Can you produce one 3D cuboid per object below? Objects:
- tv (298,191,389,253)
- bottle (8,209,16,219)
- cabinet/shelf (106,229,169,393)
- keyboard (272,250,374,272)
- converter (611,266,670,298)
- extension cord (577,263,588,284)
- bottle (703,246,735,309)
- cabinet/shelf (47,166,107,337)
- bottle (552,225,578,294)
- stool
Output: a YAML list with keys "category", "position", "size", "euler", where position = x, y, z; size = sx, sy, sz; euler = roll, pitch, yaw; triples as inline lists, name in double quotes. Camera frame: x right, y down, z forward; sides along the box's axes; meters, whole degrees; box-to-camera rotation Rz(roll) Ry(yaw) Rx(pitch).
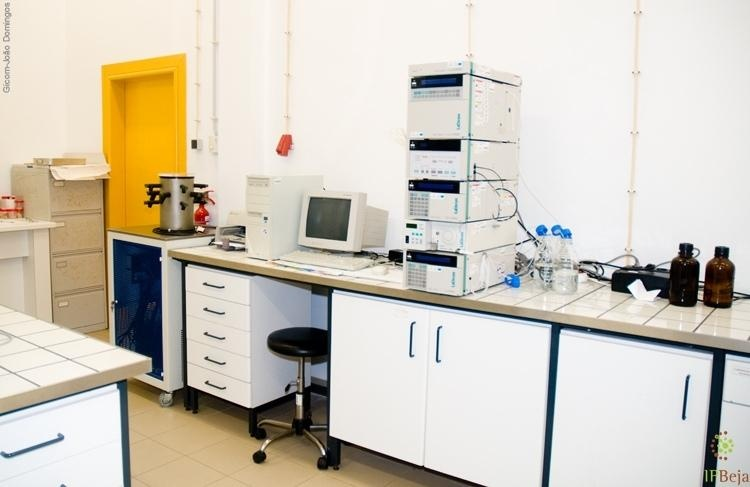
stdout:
- category: "tv"
  position: [-0.203, -0.149, 4.066]
  size: [0.508, 0.365, 0.494]
  euler: [6, 3, 34]
- category: "bottle"
  position: [-3.271, -0.255, 5.132]
  size: [0.060, 0.066, 0.061]
  euler: [16, 16, 41]
- category: "cabinet/shelf"
  position: [-1.822, 0.490, 4.373]
  size: [0.715, 0.995, 0.217]
  euler: [12, 19, 38]
- category: "keyboard"
  position: [-0.324, 0.099, 3.822]
  size: [0.641, 0.045, 0.353]
  euler: [6, 16, 20]
- category: "converter"
  position: [1.583, 0.201, 3.298]
  size: [0.371, 0.146, 0.337]
  euler: [3, -9, 21]
- category: "extension cord"
  position: [1.262, 0.182, 3.445]
  size: [0.057, 0.090, 0.142]
  euler: [6, 16, 20]
- category: "bottle"
  position: [1.850, 0.175, 2.999]
  size: [0.203, 0.314, 0.108]
  euler: [-2, 15, -7]
- category: "cabinet/shelf"
  position: [-2.763, 0.122, 5.361]
  size: [0.213, 1.450, 0.672]
  euler: [7, 17, 25]
- category: "bottle"
  position: [1.102, 0.080, 3.301]
  size: [0.168, 0.350, 0.295]
  euler: [6, 16, 20]
- category: "stool"
  position: [-0.556, 0.924, 3.812]
  size: [0.505, 0.839, 0.737]
  euler: [-1, 15, -5]
